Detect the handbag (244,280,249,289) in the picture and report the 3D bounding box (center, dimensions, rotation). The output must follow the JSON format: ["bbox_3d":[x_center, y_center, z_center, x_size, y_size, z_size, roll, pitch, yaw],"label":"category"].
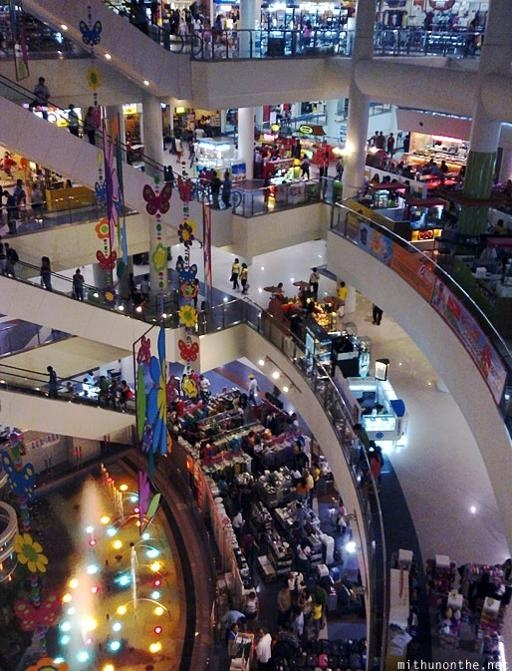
[{"bbox_3d":[-0.256,-1.469,15.397,0.157,0.249,0.210,1,0,-33],"label":"handbag"}]

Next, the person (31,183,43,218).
[{"bbox_3d":[-4.789,-2.874,11.477,0.226,0.622,0.904,1,13,-23],"label":"person"}]

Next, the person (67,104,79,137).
[{"bbox_3d":[-3.586,-4.216,10.345,0.225,0.682,1.030,1,12,-20],"label":"person"}]

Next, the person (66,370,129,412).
[{"bbox_3d":[-3.701,1.516,12.167,1.254,0.302,0.931,6,39,-40],"label":"person"}]

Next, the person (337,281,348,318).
[{"bbox_3d":[2.343,-0.993,14.387,0.297,0.975,0.840,7,11,9],"label":"person"}]

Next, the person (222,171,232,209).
[{"bbox_3d":[-0.726,-3.613,13.103,0.242,0.891,0.433,4,11,-4],"label":"person"}]

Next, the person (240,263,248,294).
[{"bbox_3d":[-0.354,-1.629,15.539,0.274,0.866,0.823,5,11,-2],"label":"person"}]

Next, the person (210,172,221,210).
[{"bbox_3d":[-0.997,-3.543,12.836,0.266,0.869,0.319,4,11,-5],"label":"person"}]

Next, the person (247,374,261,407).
[{"bbox_3d":[-0.026,1.352,13.704,0.303,0.889,0.997,6,11,2],"label":"person"}]
